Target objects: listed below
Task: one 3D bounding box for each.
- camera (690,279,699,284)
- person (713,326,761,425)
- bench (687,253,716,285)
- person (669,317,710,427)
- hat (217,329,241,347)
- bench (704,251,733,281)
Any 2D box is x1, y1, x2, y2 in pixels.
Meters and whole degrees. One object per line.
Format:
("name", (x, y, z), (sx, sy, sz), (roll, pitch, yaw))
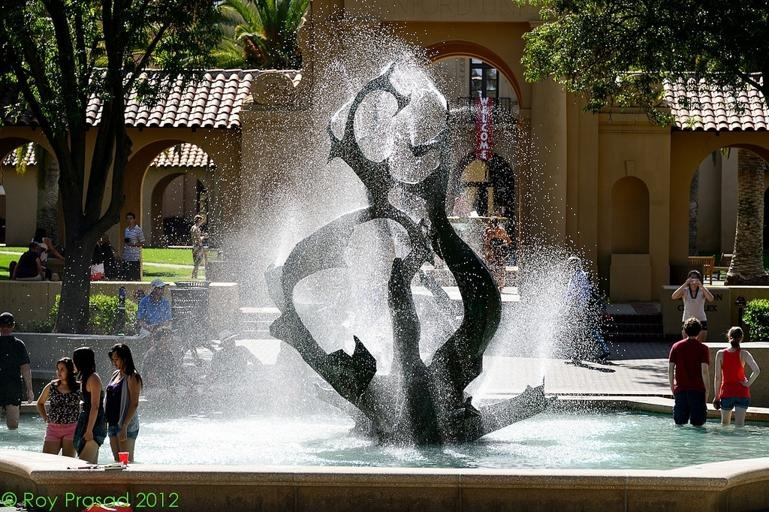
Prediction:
("camera", (6.606, 0.526, 22.743), (0.151, 0.084, 0.050), (0, 8, 12))
("person", (6.304, 2.084, 19.154), (0.736, 1.828, 1.395), (2, 9, 20))
("bench", (9.252, 0.381, 31.141), (0.771, 1.427, 0.926), (-1, -4, 8))
("person", (5.323, 2.024, 18.683), (0.635, 1.950, 0.372), (2, 9, 22))
("hat", (-3.146, 1.672, 21.291), (0.470, 0.201, 0.526), (-26, -10, -26))
("bench", (11.403, 0.345, 36.475), (0.348, 0.703, 0.941), (2, -3, -23))
